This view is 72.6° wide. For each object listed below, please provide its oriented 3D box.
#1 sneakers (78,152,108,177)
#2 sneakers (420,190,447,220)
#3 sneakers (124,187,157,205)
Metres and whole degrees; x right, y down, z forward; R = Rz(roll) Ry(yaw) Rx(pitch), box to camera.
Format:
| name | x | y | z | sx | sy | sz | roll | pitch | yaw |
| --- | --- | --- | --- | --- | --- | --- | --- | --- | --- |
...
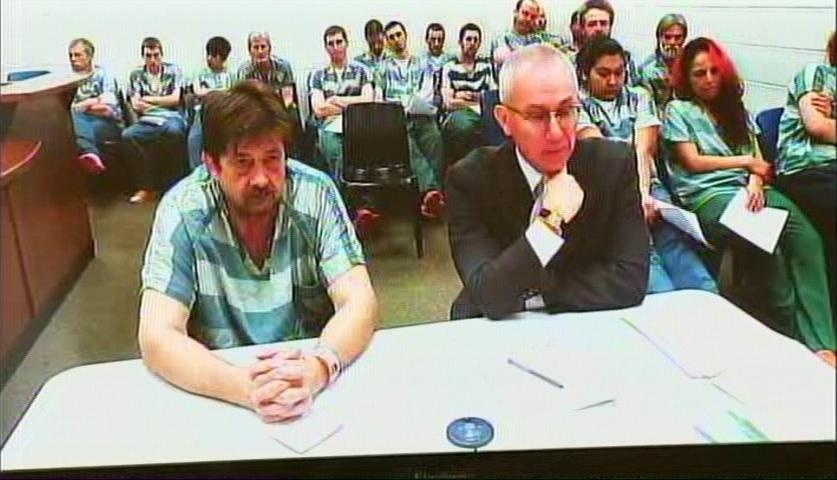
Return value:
| name | x | y | z | sx | sy | sz | roll | pitch | yaw |
| --- | --- | --- | --- | --- | --- | --- | --- | --- | --- |
| sneakers | -1.970 | -0.460 | 3.438 | 0.141 | 0.128 | 0.055 | -7 | 10 | -6 |
| sneakers | 0.090 | -0.224 | 3.613 | 0.140 | 0.176 | 0.080 | 4 | 1 | -1 |
| sneakers | -1.678 | -0.271 | 3.483 | 0.167 | 0.083 | 0.047 | -6 | -3 | -1 |
